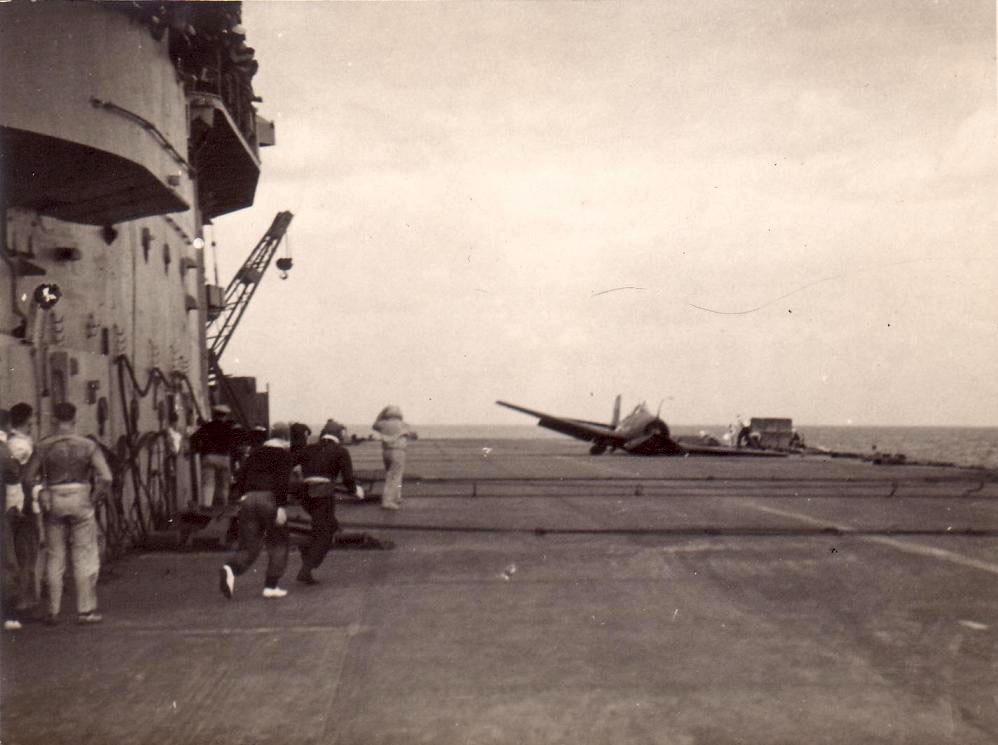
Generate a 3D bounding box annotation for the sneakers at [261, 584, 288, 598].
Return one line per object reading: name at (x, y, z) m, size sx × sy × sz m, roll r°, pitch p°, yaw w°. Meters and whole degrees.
sneakers at (-3.036, 2.959, 15.401) m, size 0.325 × 0.220 × 0.145 m, roll 0°, pitch 7°, yaw -23°

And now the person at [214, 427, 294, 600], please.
person at (-3.286, 1.884, 15.587) m, size 0.915 × 2.303 × 1.061 m, roll -1°, pitch 6°, yaw -10°

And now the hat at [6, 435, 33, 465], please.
hat at (-6.371, 1.000, 15.073) m, size 0.377 × 0.419 × 0.468 m, roll 1°, pitch -17°, yaw -13°

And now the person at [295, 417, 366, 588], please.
person at (-2.459, 1.847, 16.386) m, size 0.883 × 2.202 × 1.093 m, roll -1°, pitch 6°, yaw -8°

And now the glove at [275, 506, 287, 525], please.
glove at (-2.966, 1.949, 15.488) m, size 0.163 × 0.229 × 0.056 m, roll 1°, pitch -4°, yaw -6°

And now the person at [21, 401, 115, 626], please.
person at (-5.433, 1.747, 14.328) m, size 0.987 × 2.709 × 0.949 m, roll -3°, pitch 6°, yaw -23°

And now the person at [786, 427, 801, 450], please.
person at (14.806, 3.340, 56.382) m, size 1.060 × 1.089 × 1.026 m, roll 1°, pitch 12°, yaw 11°
